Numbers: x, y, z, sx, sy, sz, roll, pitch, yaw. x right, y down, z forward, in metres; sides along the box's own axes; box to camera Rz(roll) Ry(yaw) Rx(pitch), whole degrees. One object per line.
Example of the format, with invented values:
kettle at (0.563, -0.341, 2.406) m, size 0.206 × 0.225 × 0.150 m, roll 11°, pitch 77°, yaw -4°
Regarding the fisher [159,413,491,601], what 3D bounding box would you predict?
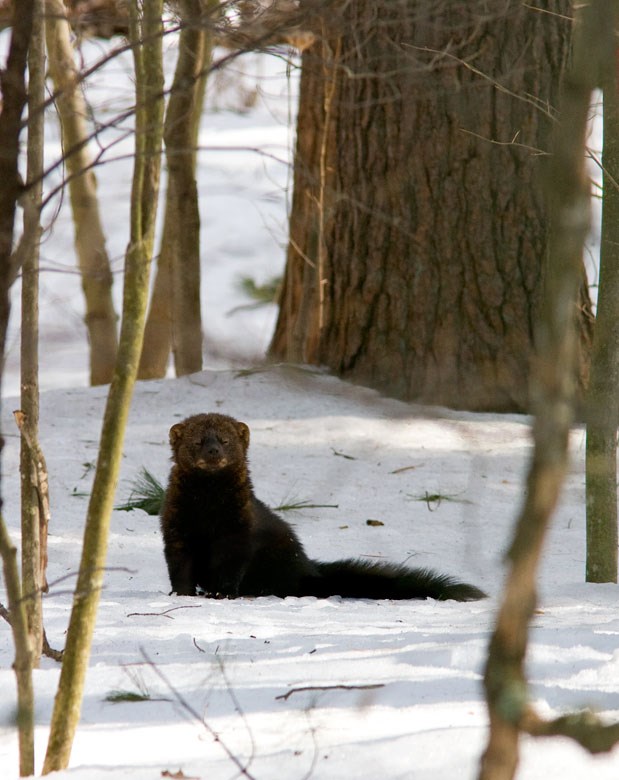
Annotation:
fisher at (0.052, 0.610, 7.679) m, size 1.761 × 1.054 × 0.662 m, roll 8°, pitch -15°, yaw -4°
